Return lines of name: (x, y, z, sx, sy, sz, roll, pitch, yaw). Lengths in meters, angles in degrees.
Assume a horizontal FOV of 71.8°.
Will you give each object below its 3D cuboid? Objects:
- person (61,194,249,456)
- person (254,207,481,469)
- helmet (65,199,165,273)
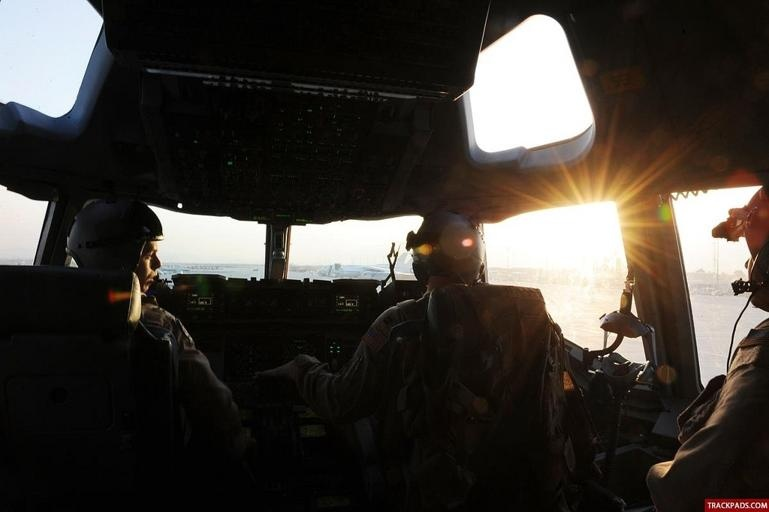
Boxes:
person: (-1.199, 0.361, 2.805, 0.909, 1.321, 0.523, -1, -6, 26)
person: (-0.125, 0.264, 3.093, 1.079, 1.253, 1.046, 10, 5, -7)
helmet: (-1.399, -0.094, 2.752, 0.494, 0.448, 0.380, -7, 17, -24)
